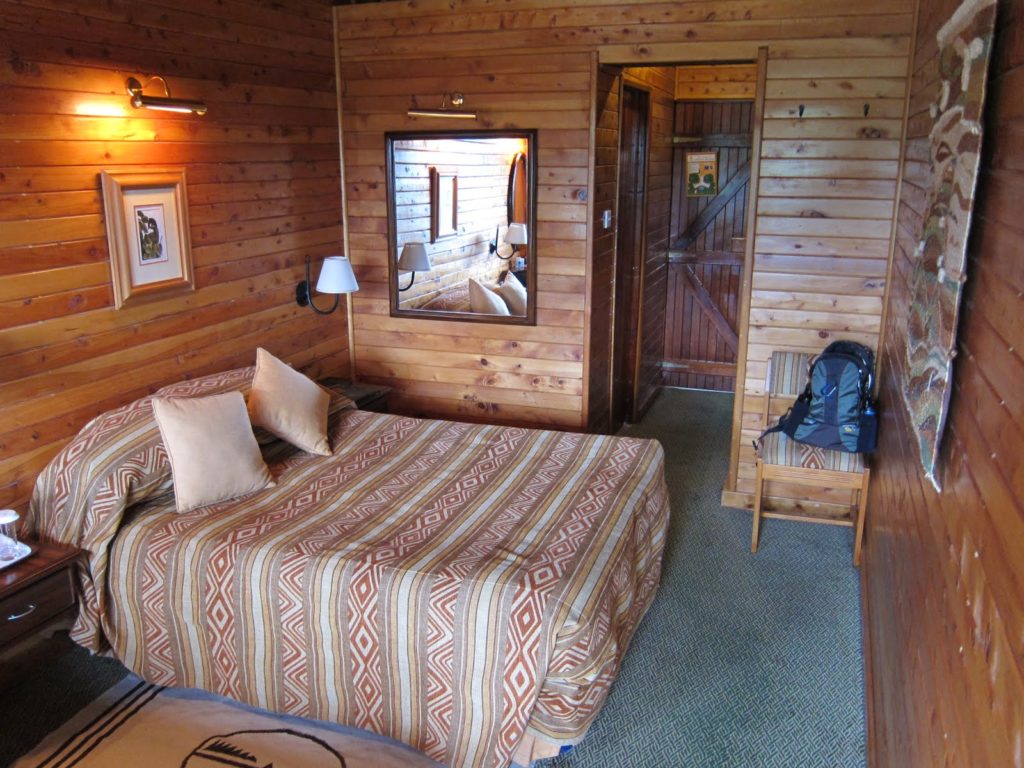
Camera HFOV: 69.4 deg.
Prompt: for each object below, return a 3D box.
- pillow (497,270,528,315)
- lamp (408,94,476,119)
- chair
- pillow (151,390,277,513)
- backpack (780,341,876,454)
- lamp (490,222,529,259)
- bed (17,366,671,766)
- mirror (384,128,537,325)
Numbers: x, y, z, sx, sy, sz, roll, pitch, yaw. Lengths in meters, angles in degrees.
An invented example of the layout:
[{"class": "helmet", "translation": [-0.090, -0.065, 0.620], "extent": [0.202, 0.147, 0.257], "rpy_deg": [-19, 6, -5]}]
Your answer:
[{"class": "pillow", "translation": [-0.008, -0.597, 4.897], "extent": [0.202, 0.285, 0.046], "rpy_deg": [10, 22, 27]}, {"class": "lamp", "translation": [-0.465, -1.778, 4.749], "extent": [0.483, 0.160, 0.180], "rpy_deg": [1, 18, 4]}, {"class": "chair", "translation": [1.743, 0.397, 4.355], "extent": [0.715, 1.066, 0.701], "rpy_deg": [2, 21, 16]}, {"class": "pillow", "translation": [-1.334, 0.295, 3.297], "extent": [0.166, 0.471, 0.541], "rpy_deg": [-16, 2, 38]}, {"class": "backpack", "translation": [1.758, 0.091, 4.125], "extent": [0.552, 0.500, 0.362], "rpy_deg": [15, 28, 35]}, {"class": "lamp", "translation": [-0.010, -0.936, 4.836], "extent": [0.268, 0.215, 0.204], "rpy_deg": [2, 16, 21]}, {"class": "bed", "translation": [-0.673, 0.837, 3.218], "extent": [2.402, 0.799, 1.546], "rpy_deg": [7, 28, 14]}, {"class": "mirror", "translation": [-0.316, -1.094, 4.893], "extent": [1.482, 1.444, 0.106], "rpy_deg": [3, 17, 13]}]
